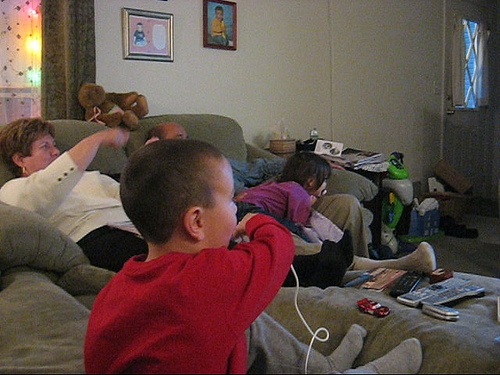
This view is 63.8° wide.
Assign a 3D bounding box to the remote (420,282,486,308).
[{"bbox_3d":[0.747,0.395,1.465,0.205,0.024,0.101,-13,8,-32],"label":"remote"}]

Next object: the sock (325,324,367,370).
[{"bbox_3d":[0.311,0.522,1.296,0.060,0.072,0.237,27,32,14],"label":"sock"}]

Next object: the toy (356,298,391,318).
[{"bbox_3d":[0.444,0.426,1.442,0.048,0.031,0.080,-8,11,-36],"label":"toy"}]

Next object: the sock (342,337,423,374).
[{"bbox_3d":[0.408,0.518,1.192,0.288,0.084,0.068,-1,9,-25],"label":"sock"}]

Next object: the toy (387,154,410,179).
[{"bbox_3d":[1.356,-0.182,3.690,0.178,0.209,0.214,6,9,20],"label":"toy"}]

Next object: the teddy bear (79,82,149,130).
[{"bbox_3d":[-0.972,-0.600,2.875,0.499,0.220,0.381,7,33,-17],"label":"teddy bear"}]

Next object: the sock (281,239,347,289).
[{"bbox_3d":[0.305,0.370,1.871,0.280,0.242,0.320,15,3,18],"label":"sock"}]

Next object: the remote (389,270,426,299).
[{"bbox_3d":[0.646,0.388,1.661,0.067,0.054,0.223,7,20,30],"label":"remote"}]

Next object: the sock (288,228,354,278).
[{"bbox_3d":[0.343,0.313,1.827,0.310,0.238,0.111,10,-37,-23],"label":"sock"}]

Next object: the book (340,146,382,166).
[{"bbox_3d":[0.959,-0.272,3.534,0.238,0.068,0.232,-15,24,-42],"label":"book"}]

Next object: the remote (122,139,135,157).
[{"bbox_3d":[-0.830,-0.270,2.770,0.094,0.092,0.023,44,-5,10],"label":"remote"}]

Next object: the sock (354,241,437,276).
[{"bbox_3d":[0.655,0.339,1.839,0.317,0.155,0.156,-5,-38,10],"label":"sock"}]

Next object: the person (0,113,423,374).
[{"bbox_3d":[-0.190,0.187,1.597,1.216,0.644,0.637,24,-2,13],"label":"person"}]
